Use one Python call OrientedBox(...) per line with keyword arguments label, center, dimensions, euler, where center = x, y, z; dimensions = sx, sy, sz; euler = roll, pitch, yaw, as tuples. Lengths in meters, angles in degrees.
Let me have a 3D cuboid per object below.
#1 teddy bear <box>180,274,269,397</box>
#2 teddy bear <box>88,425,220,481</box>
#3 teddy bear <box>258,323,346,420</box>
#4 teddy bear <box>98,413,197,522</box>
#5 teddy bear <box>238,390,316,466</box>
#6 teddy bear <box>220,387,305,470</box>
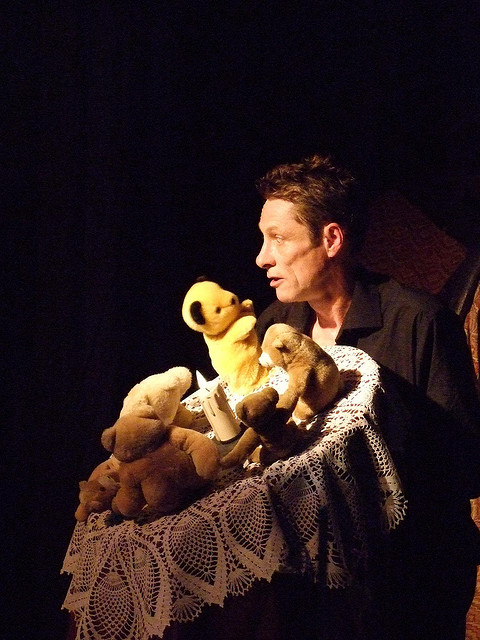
OrientedBox(label="teddy bear", center=(-0.030, 0.037, 1.672), dimensions=(0.182, 0.247, 0.103), euler=(3, -13, -43))
OrientedBox(label="teddy bear", center=(-0.150, 0.248, 1.464), dimensions=(0.221, 0.074, 0.114), euler=(-15, 11, 9))
OrientedBox(label="teddy bear", center=(0.119, 0.092, 1.546), dimensions=(0.166, 0.189, 0.173), euler=(-3, 29, 9))
OrientedBox(label="teddy bear", center=(-0.169, 0.277, 1.447), dimensions=(0.157, 0.142, 0.121), euler=(-31, -27, 24))
OrientedBox(label="teddy bear", center=(0.063, 0.195, 1.427), dimensions=(0.095, 0.130, 0.181), euler=(-12, -12, 32))
OrientedBox(label="teddy bear", center=(0.049, 0.196, 1.439), dimensions=(0.215, 0.130, 0.101), euler=(-7, -5, -44))
